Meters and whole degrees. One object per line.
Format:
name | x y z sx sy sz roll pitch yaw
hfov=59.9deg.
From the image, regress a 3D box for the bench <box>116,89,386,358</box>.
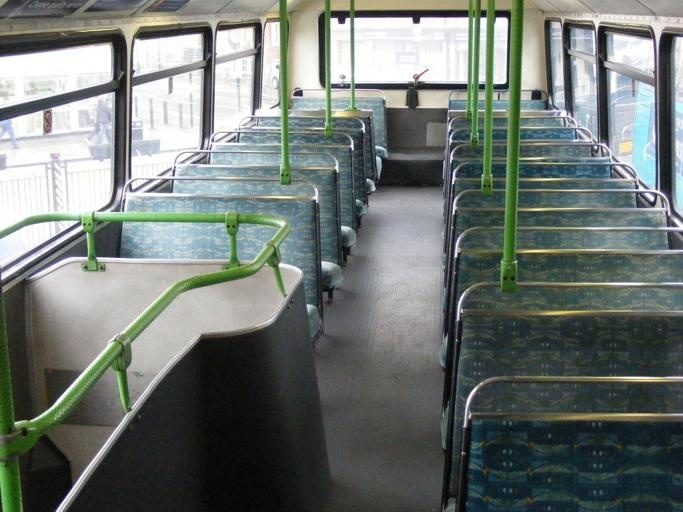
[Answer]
bench | -0.728 -0.307 5.172 1.829 1.279 1.768 1 20 3
